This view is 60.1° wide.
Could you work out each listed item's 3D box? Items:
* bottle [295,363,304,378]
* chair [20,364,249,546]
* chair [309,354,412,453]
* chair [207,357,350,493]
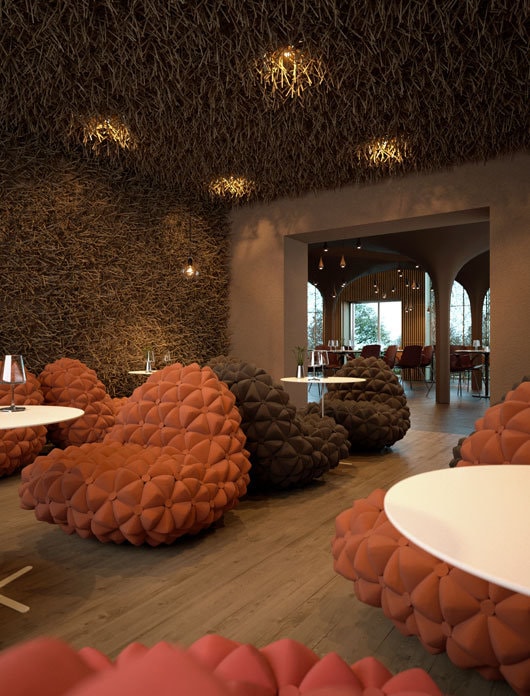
[{"bbox_3d":[0.273,0.181,3.684,0.079,0.116,0.080,0,-1,0],"label":"bottle"},{"bbox_3d":[-0.524,0.490,2.069,0.844,0.599,0.826,11,13,39],"label":"chair"},{"bbox_3d":[0.920,0.490,4.323,0.882,0.846,0.883,0,-1,22],"label":"chair"},{"bbox_3d":[0.066,0.498,3.143,0.834,0.815,0.872,2,-3,-27],"label":"chair"}]
